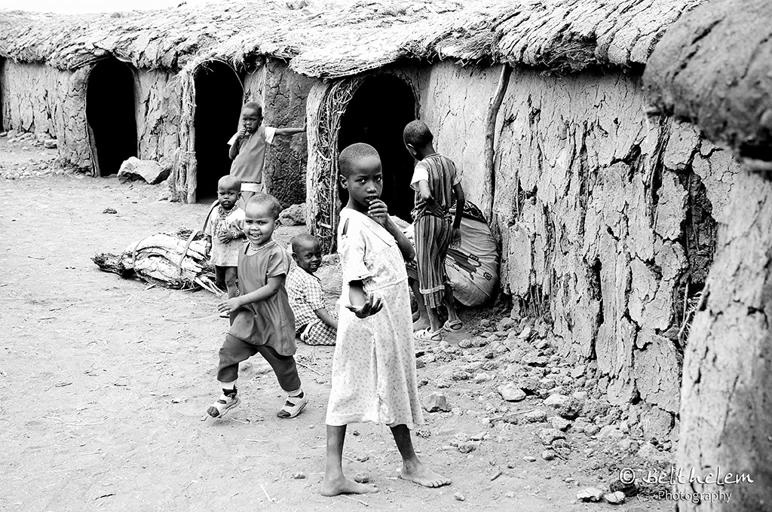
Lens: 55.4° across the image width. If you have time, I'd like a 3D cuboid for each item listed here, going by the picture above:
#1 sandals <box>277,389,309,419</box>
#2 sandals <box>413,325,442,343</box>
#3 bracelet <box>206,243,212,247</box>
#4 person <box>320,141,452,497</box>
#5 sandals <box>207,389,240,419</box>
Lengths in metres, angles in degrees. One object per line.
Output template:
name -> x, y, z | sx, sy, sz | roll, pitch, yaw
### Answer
sandals -> -0.690, 1.090, 5.552 | 0.122, 0.122, 0.290 | 7, 31, 34
sandals -> 0.390, 0.714, 6.754 | 0.200, 0.075, 0.122 | 3, 10, 6
bracelet -> -1.964, -0.137, 8.201 | 0.054, 0.028, 0.069 | -2, 41, 4
person -> -0.018, 0.413, 4.407 | 0.629, 2.113, 0.456 | 3, 10, -4
sandals -> -1.184, 1.055, 5.485 | 0.128, 0.140, 0.305 | 17, 32, 27
